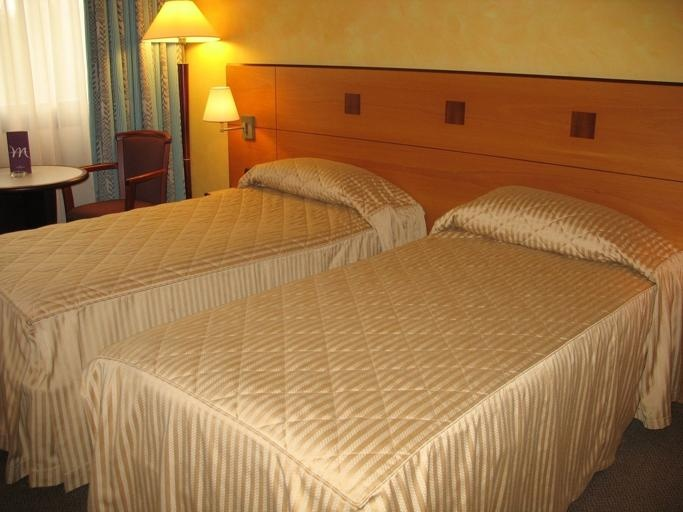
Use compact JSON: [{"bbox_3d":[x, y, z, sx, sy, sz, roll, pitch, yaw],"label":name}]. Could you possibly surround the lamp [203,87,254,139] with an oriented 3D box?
[{"bbox_3d":[-0.977,-1.210,4.653,0.289,0.493,0.481,22,29,39],"label":"lamp"}]
